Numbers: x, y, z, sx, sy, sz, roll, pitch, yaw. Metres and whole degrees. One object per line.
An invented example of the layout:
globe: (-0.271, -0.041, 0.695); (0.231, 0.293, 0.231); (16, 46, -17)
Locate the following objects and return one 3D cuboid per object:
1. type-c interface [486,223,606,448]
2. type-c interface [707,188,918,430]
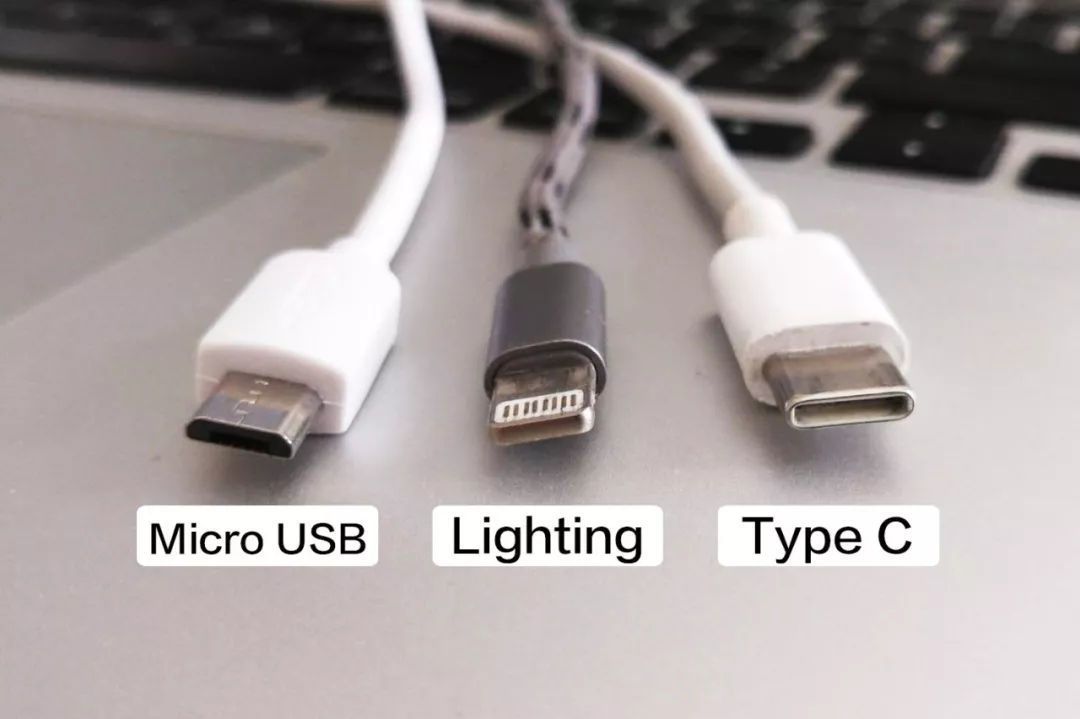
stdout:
type-c interface: (0.003, -0.026, 0.626); (0.065, 0.045, 0.188); (-16, 42, 16)
type-c interface: (0.156, -0.016, 0.602); (0.092, 0.058, 0.127); (-5, 45, -10)
